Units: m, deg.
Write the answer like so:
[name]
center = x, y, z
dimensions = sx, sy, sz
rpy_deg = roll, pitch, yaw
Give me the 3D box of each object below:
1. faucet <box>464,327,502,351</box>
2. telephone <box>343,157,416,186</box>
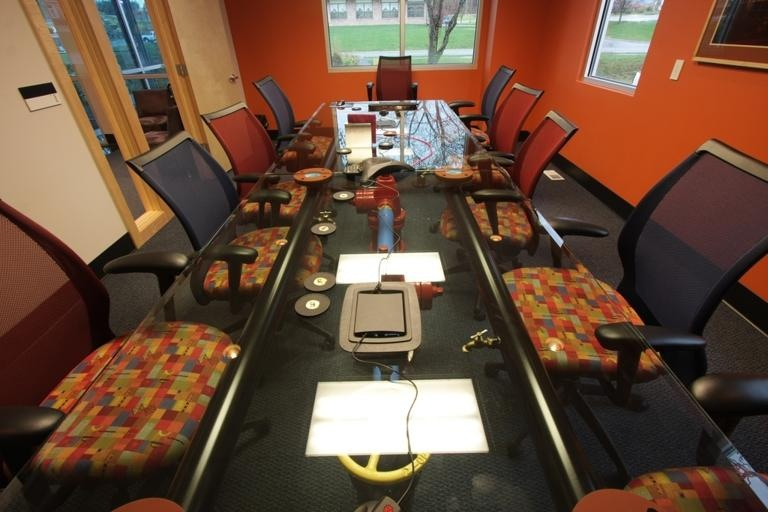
[faucet]
center = 0.460, 0.386, 2.131
dimensions = 0.162, 0.069, 0.075
rpy_deg = -2, 32, 3
[telephone]
center = 0.000, -0.559, 2.891
dimensions = 0.312, 0.077, 0.248
rpy_deg = -11, 31, -14
